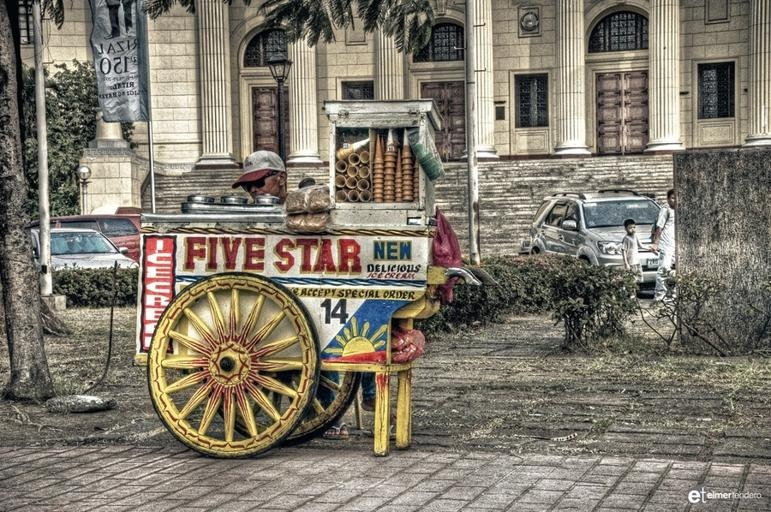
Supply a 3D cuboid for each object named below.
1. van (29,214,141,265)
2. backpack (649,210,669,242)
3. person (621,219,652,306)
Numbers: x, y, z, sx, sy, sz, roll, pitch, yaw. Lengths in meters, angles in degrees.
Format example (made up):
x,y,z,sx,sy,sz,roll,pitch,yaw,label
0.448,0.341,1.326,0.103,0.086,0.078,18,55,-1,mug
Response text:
x,y,z,sx,sy,sz,roll,pitch,yaw,label
-8.034,-0.399,40.439,1.595,1.363,3.306,2,0,19,van
6.707,-0.777,36.906,0.648,0.591,0.468,15,9,27,backpack
5.961,-0.157,36.896,0.821,2.713,1.063,1,0,-2,person
